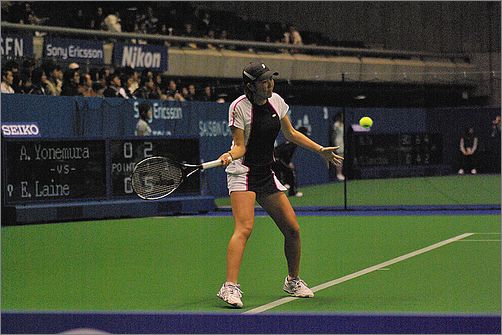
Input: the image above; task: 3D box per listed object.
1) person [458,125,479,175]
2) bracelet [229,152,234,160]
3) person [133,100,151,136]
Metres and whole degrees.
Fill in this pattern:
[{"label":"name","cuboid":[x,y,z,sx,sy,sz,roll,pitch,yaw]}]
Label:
[{"label":"person","cuboid":[6.360,-0.532,31.003,0.544,1.368,1.258,0,4,12]},{"label":"bracelet","cuboid":[-0.424,-0.251,22.052,0.104,0.205,0.119,1,4,26]},{"label":"person","cuboid":[-3.083,-1.423,30.289,0.400,0.928,0.789,-1,4,-7]}]
